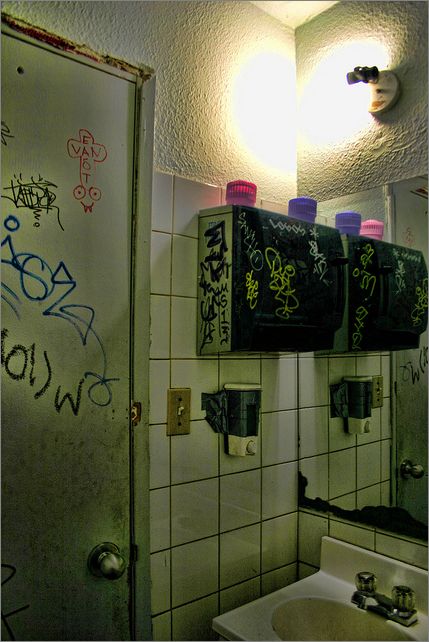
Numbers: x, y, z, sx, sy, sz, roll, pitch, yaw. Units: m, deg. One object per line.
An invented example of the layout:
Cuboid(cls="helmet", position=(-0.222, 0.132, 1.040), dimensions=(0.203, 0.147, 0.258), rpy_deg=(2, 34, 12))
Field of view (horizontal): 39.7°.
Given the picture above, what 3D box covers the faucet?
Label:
Cuboid(cls="faucet", position=(0.440, 0.694, 1.498), dimensions=(0.105, 0.088, 0.175), rpy_deg=(0, 2, -40))
